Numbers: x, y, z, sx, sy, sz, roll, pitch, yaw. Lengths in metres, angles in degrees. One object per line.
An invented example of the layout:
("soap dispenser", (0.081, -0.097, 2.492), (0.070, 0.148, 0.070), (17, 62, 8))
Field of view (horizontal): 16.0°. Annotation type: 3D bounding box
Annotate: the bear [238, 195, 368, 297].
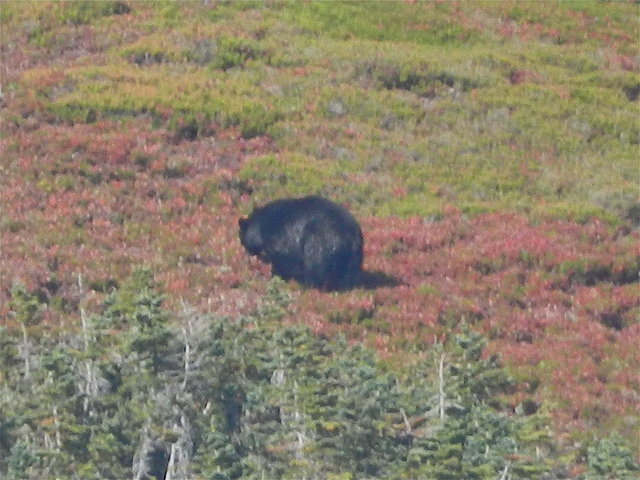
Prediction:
("bear", (-0.350, 0.191, 52.979), (2.787, 1.719, 1.365), (9, 23, 13))
